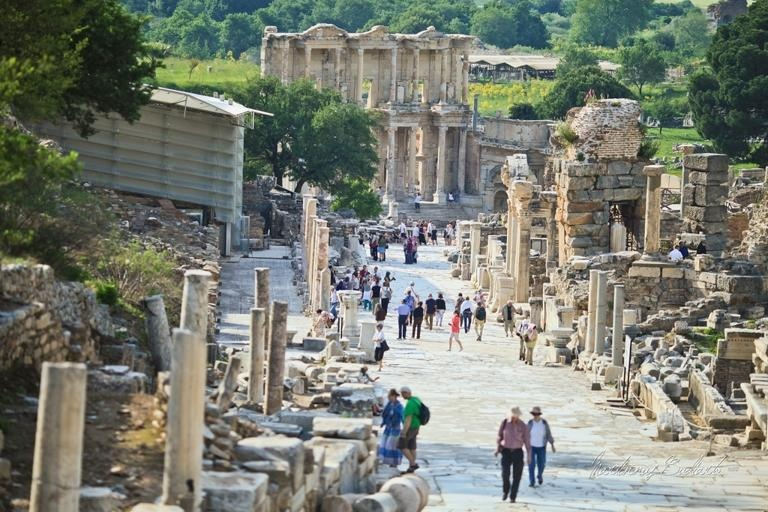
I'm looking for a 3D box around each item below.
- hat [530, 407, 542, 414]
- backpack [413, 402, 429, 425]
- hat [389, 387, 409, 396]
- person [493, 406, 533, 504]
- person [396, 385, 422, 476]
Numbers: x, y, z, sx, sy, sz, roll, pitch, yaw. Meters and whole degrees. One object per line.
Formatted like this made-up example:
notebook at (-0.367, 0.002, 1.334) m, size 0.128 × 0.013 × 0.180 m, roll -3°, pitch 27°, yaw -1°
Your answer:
hat at (3.469, 3.551, 32.590) m, size 0.207 × 0.101 × 0.191 m, roll 17°, pitch -8°, yaw -20°
backpack at (0.878, 3.659, 33.283) m, size 0.427 × 0.678 × 0.512 m, roll 2°, pitch 4°, yaw 5°
hat at (0.337, 3.144, 33.100) m, size 0.386 × 0.154 × 0.240 m, roll -3°, pitch -3°, yaw 2°
person at (2.834, 4.408, 31.970) m, size 0.734 × 2.003 × 0.937 m, roll 2°, pitch -2°, yaw 8°
person at (0.564, 3.986, 32.924) m, size 0.492 × 1.883 × 0.787 m, roll 2°, pitch -2°, yaw 0°
